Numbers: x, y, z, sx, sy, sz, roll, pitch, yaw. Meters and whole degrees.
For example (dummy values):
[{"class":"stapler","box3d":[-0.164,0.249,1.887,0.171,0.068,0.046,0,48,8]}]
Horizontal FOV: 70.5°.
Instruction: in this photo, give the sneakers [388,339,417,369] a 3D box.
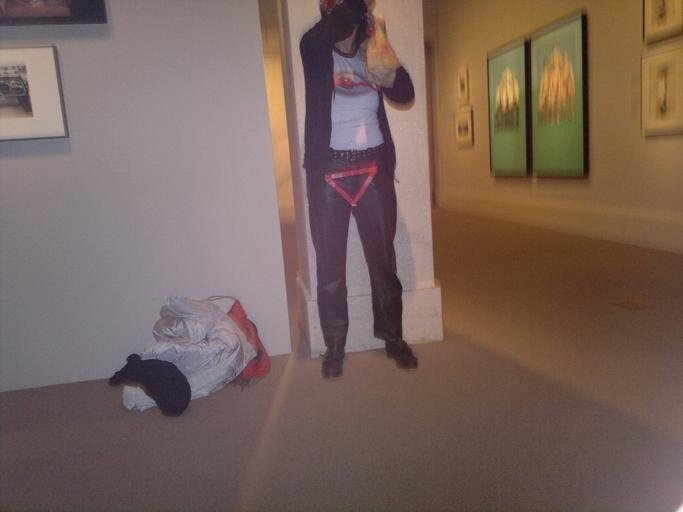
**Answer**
[{"class":"sneakers","box3d":[0.350,0.565,2.836,0.085,0.098,0.218,-13,17,-18]}]
